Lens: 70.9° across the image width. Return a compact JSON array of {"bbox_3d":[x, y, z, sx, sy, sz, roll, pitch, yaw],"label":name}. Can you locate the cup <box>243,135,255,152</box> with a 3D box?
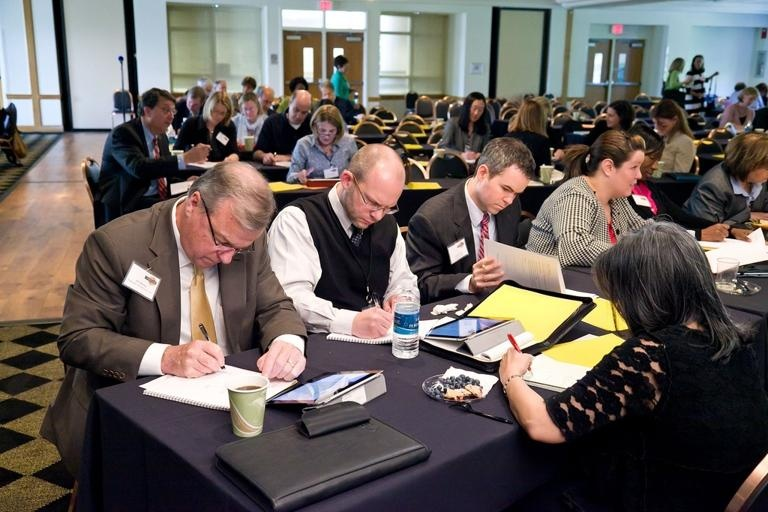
[{"bbox_3d":[-1.545,-1.311,6.284,0.157,0.213,0.237,-3,9,-15],"label":"cup"}]

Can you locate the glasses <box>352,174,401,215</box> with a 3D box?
[{"bbox_3d":[-0.037,-0.272,2.409,0.046,0.170,0.168,-35,-20,26],"label":"glasses"}]

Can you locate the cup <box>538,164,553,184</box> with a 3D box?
[{"bbox_3d":[1.582,-0.825,5.373,0.197,0.186,0.169,5,13,40],"label":"cup"}]

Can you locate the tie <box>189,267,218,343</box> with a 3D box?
[{"bbox_3d":[-0.730,0.209,2.155,0.093,0.026,0.382,11,35,-30],"label":"tie"}]

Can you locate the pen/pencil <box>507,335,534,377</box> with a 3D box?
[{"bbox_3d":[0.474,0.357,1.889,0.020,0.139,0.019,-27,-2,-38],"label":"pen/pencil"}]

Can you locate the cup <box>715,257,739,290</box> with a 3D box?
[{"bbox_3d":[1.745,0.106,2.753,0.110,0.163,0.107,8,-11,2],"label":"cup"}]

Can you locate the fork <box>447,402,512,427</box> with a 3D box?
[{"bbox_3d":[0.294,0.501,1.690,0.169,0.033,0.024,16,24,38],"label":"fork"}]

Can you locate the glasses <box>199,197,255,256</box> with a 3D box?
[{"bbox_3d":[-0.580,-0.125,1.957,0.056,0.186,0.182,-26,-15,18],"label":"glasses"}]

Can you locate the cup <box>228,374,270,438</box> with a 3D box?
[{"bbox_3d":[-0.399,0.454,1.581,0.128,0.131,0.131,0,-7,0],"label":"cup"}]

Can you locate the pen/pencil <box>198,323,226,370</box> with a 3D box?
[{"bbox_3d":[-0.630,0.330,1.967,0.017,0.144,0.020,-8,16,31],"label":"pen/pencil"}]

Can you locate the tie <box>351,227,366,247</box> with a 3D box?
[{"bbox_3d":[-0.118,-0.084,2.527,0.061,0.083,0.022,3,3,-16],"label":"tie"}]
